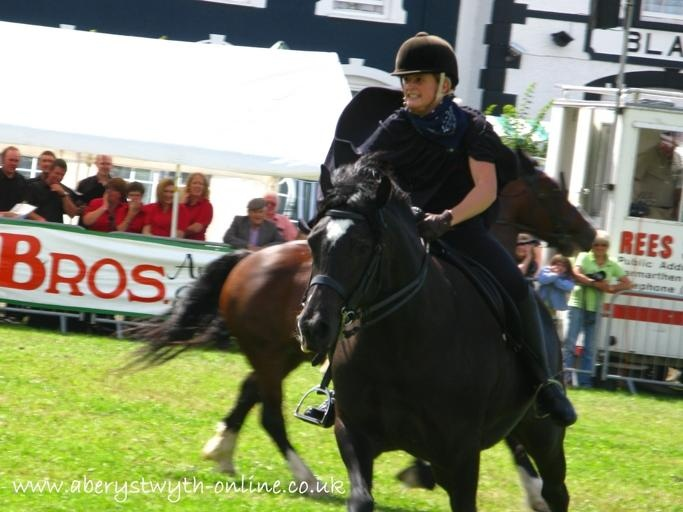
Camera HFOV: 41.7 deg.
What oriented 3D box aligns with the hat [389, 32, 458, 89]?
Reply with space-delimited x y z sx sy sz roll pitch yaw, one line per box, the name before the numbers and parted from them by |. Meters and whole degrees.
hat | 0.632 -1.436 6.469 0.512 0.257 0.350 -10 14 -23
